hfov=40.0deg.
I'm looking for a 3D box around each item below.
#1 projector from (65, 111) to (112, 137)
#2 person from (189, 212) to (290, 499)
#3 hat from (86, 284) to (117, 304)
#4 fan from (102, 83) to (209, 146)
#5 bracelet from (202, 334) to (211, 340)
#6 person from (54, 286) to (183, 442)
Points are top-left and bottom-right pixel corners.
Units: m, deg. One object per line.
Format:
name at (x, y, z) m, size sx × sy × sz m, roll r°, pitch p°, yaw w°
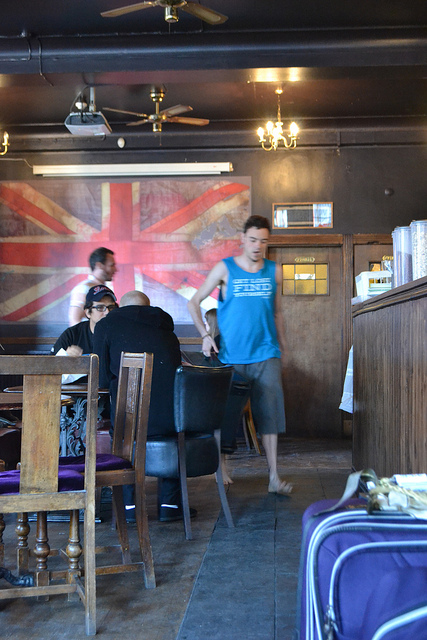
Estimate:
projector at (-1.089, -1.722, 5.135) m, size 0.348 × 0.193 × 0.416 m, roll -1°, pitch -5°, yaw -3°
person at (0.218, 0.175, 3.482) m, size 0.661 × 1.581 × 0.775 m, roll -5°, pitch 7°, yaw -35°
hat at (-0.673, -0.138, 3.365) m, size 0.145 × 0.106 × 0.234 m, roll 3°, pitch -3°, yaw -42°
fan at (-0.455, -1.758, 5.036) m, size 0.576 × 0.264 × 0.640 m, roll -1°, pitch 7°, yaw 8°
bracelet at (-0.042, 0.095, 3.382) m, size 0.067 × 0.009 × 0.011 m, roll -25°, pitch -40°, yaw 2°
person at (-0.330, 0.168, 3.102) m, size 0.672 × 0.750 × 0.871 m, roll -1°, pitch 7°, yaw -36°
